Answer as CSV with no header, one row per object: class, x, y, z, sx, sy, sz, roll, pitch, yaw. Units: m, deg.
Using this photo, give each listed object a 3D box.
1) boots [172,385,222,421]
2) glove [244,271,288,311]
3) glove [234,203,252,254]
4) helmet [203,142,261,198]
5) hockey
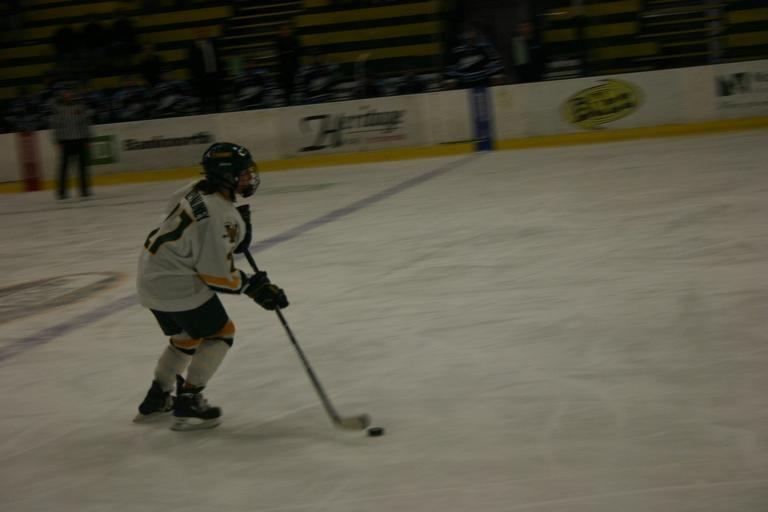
boots,-1.323,1.065,6.627,0.486,0.210,0.149,-1,3,31
glove,-0.869,0.253,6.567,0.408,0.208,0.153,31,2,-7
glove,-1.012,-0.197,6.637,0.164,0.284,0.260,-1,15,-20
helmet,-1.152,-0.615,6.608,0.462,0.291,0.337,-3,12,-30
hockey,-0.621,0.726,7.403,2.072,0.244,0.342,41,26,30
